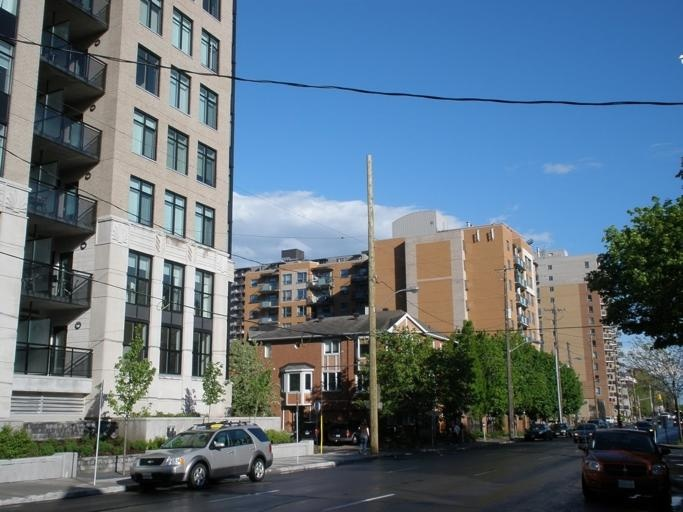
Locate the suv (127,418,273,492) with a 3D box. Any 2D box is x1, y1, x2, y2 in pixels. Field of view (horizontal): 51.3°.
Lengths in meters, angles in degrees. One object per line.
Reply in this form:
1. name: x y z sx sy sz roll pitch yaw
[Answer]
1. suv: -5.353 7.803 28.010 2.471 1.771 4.889 -14 -20 33
